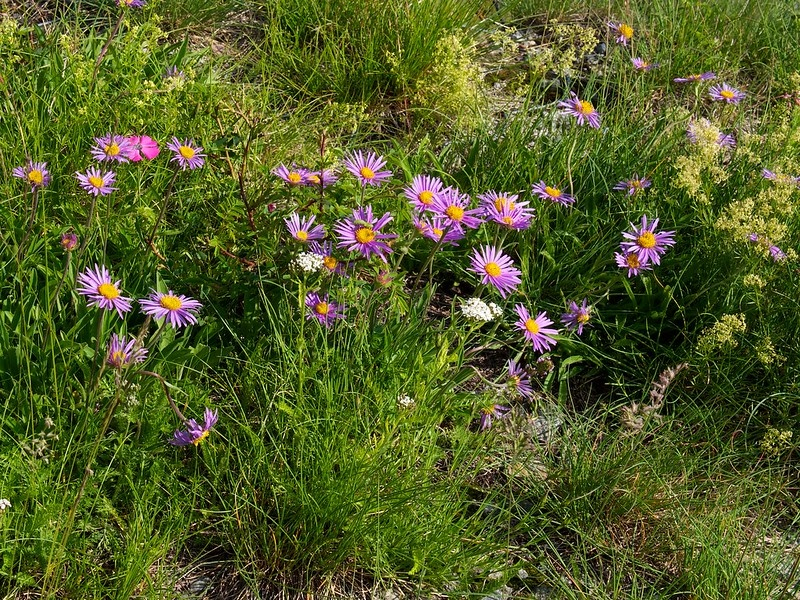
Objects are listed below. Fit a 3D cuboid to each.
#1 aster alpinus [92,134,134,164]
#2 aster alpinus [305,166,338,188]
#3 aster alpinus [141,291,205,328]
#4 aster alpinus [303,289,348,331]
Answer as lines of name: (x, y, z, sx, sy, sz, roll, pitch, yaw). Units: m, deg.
aster alpinus: (-1.200, -0.593, 3.035, 0.136, 0.067, 0.169, 11, 40, -8)
aster alpinus: (-0.329, -0.517, 3.131, 0.117, 0.056, 0.126, -11, 12, -26)
aster alpinus: (-0.838, 0.068, 2.651, 0.176, 0.063, 0.176, 38, 30, 16)
aster alpinus: (-0.296, 0.060, 2.862, 0.163, 0.126, 0.160, 12, 42, -7)
